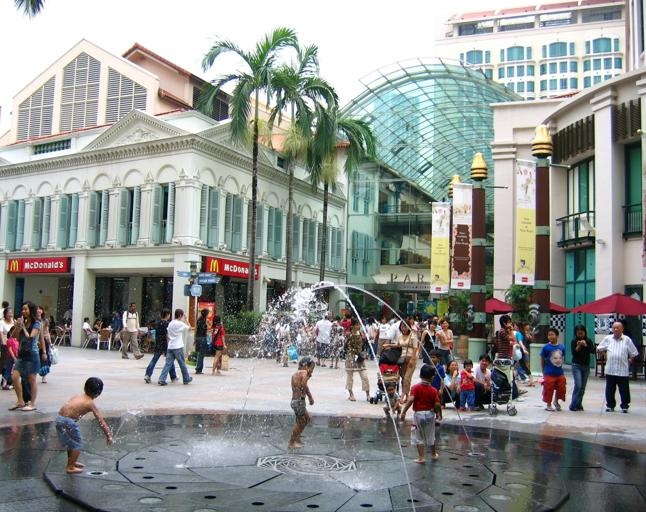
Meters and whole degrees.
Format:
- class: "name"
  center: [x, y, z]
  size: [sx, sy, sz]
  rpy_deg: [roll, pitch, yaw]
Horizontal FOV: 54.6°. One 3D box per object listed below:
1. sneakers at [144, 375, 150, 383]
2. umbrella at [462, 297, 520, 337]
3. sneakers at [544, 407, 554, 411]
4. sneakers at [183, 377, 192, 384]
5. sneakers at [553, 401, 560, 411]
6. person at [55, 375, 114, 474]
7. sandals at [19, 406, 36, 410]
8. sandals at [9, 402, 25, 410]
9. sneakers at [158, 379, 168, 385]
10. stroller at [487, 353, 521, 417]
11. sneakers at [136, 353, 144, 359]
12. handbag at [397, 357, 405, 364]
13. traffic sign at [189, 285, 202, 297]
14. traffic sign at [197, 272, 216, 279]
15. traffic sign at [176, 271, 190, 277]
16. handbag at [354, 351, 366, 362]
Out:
- class: "sneakers"
  center: [-5.188, 3.578, 18.400]
  size: [0.094, 0.119, 0.260]
  rpy_deg: [14, -28, 30]
- class: "umbrella"
  center: [7.283, 2.510, 27.196]
  size: [1.699, 1.208, 1.677]
  rpy_deg: [-4, -7, 43]
- class: "sneakers"
  center: [5.618, 3.733, 15.519]
  size: [0.208, 0.083, 0.288]
  rpy_deg: [1, -2, 19]
- class: "sneakers"
  center: [-3.969, 3.613, 18.503]
  size: [0.120, 0.229, 0.337]
  rpy_deg: [3, 7, 13]
- class: "sneakers"
  center: [5.847, 3.663, 15.595]
  size: [0.154, 0.213, 0.440]
  rpy_deg: [1, -2, 23]
- class: "person"
  center: [-3.539, 2.458, 9.293]
  size: [0.840, 1.365, 0.720]
  rpy_deg: [2, -2, -4]
- class: "sandals"
  center: [-6.261, 3.185, 13.292]
  size: [0.264, 0.074, 0.238]
  rpy_deg: [3, -2, -39]
- class: "sandals"
  center: [-6.526, 3.149, 13.302]
  size: [0.311, 0.130, 0.113]
  rpy_deg: [3, -3, 10]
- class: "sneakers"
  center: [-4.645, 3.611, 18.191]
  size: [0.105, 0.136, 0.293]
  rpy_deg: [5, 0, 18]
- class: "stroller"
  center: [4.342, 3.164, 15.262]
  size: [0.936, 1.704, 1.159]
  rpy_deg: [1, 1, 13]
- class: "sneakers"
  center: [-7.863, 4.213, 26.709]
  size: [0.395, 0.158, 0.277]
  rpy_deg: [-17, -20, -5]
- class: "handbag"
  center: [1.913, 2.529, 15.346]
  size: [0.136, 0.177, 0.251]
  rpy_deg: [-2, -1, 38]
- class: "traffic sign"
  center: [-5.676, 1.432, 27.866]
  size: [0.449, 0.454, 0.899]
  rpy_deg: [2, -2, -12]
- class: "traffic sign"
  center: [-5.404, 0.841, 29.078]
  size: [0.845, 0.229, 0.500]
  rpy_deg: [2, -2, 0]
- class: "traffic sign"
  center: [-6.689, 0.785, 30.026]
  size: [0.600, 0.243, 0.828]
  rpy_deg: [2, -2, -14]
- class: "handbag"
  center: [0.975, 2.544, 16.239]
  size: [0.247, 0.272, 0.197]
  rpy_deg: [0, 1, -13]
